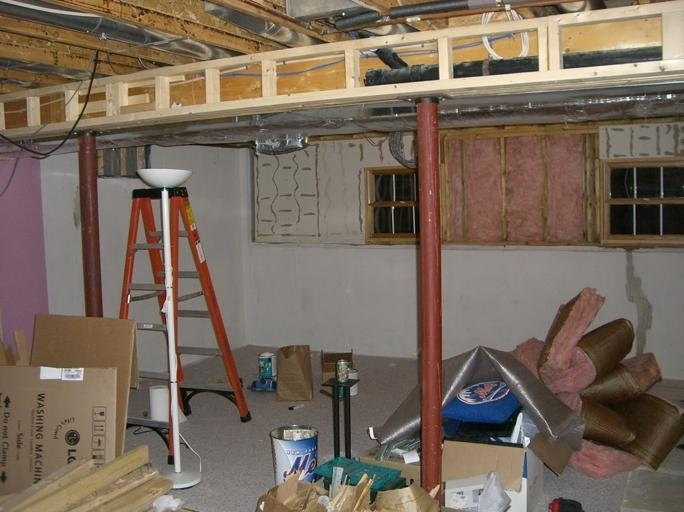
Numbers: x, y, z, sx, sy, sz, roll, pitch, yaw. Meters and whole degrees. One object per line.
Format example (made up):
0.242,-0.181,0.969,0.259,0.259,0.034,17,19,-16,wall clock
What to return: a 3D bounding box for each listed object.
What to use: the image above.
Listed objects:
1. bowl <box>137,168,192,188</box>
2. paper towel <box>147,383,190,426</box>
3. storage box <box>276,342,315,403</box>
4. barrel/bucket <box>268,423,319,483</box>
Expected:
-1.314,-0.575,4.762,0.350,0.148,0.286,-7,4,-42,bowl
-1.499,1.251,5.502,0.336,0.297,0.279,4,0,6,paper towel
-0.495,1.177,6.582,0.363,0.527,0.305,-5,4,-6,storage box
-0.344,1.424,4.578,0.337,0.335,0.320,0,-1,0,barrel/bucket
